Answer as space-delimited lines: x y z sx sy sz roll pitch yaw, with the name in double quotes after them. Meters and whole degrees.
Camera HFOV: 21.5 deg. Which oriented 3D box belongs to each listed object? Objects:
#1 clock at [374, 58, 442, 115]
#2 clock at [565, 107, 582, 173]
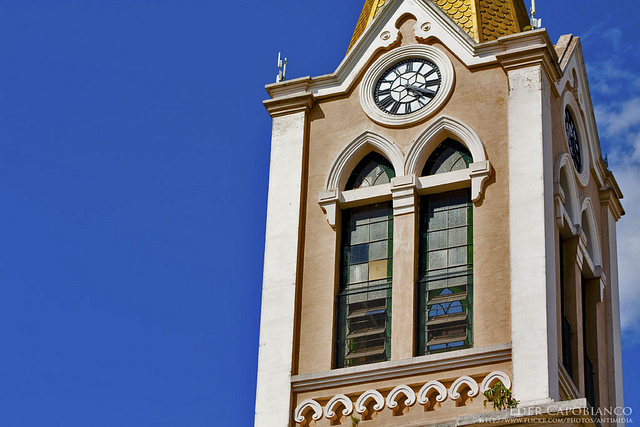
2.102 -2.968 39.493 1.584 1.528 0.107 -4 -36 18 "clock"
6.062 -1.732 40.528 0.032 1.549 1.605 -9 -8 17 "clock"
